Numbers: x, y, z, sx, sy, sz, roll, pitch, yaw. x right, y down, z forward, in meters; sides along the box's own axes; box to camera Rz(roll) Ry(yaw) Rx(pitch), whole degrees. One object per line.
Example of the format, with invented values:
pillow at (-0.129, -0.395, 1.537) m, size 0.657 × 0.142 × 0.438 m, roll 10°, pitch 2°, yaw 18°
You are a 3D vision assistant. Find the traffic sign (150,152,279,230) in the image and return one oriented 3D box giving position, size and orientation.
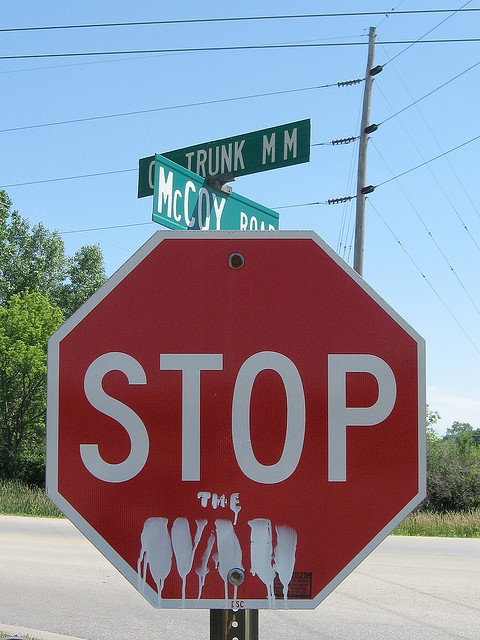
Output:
traffic sign at (-0.171, -0.706, 7.010) m, size 0.168 × 0.403 × 1.316 m, roll -2°, pitch -5°, yaw 32°
